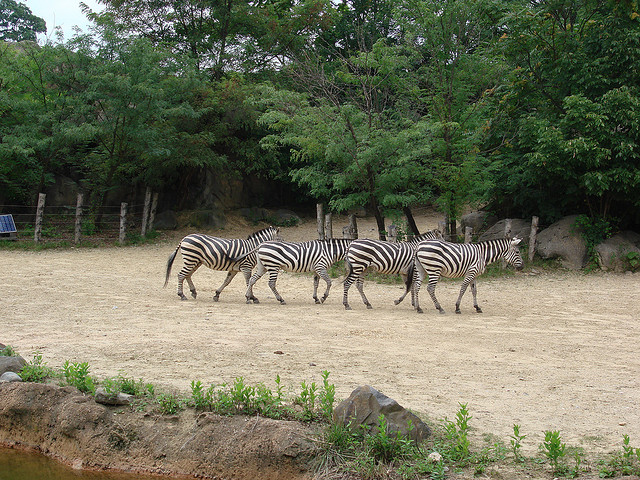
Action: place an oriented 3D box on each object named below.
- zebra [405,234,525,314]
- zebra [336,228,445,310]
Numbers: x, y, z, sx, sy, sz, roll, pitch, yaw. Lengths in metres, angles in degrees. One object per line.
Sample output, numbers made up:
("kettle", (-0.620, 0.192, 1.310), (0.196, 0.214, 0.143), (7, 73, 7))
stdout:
("zebra", (3.481, 0.823, 14.409), (2.882, 2.024, 0.733), (2, 4, -5))
("zebra", (1.830, 0.714, 14.664), (2.689, 1.956, 0.738), (1, -1, -12))
